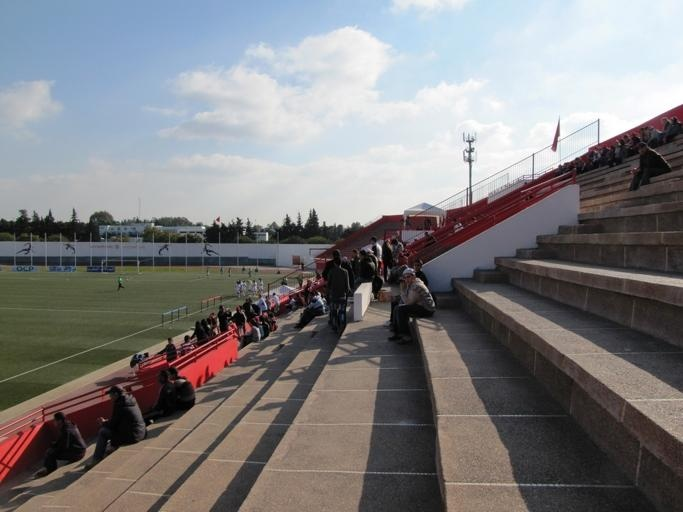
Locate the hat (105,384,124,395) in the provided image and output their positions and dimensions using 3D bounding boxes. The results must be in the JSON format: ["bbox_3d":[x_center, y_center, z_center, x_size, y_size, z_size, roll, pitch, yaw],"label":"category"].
[{"bbox_3d":[-4.334,2.580,9.567,0.260,0.216,0.208,-6,2,-12],"label":"hat"}]
